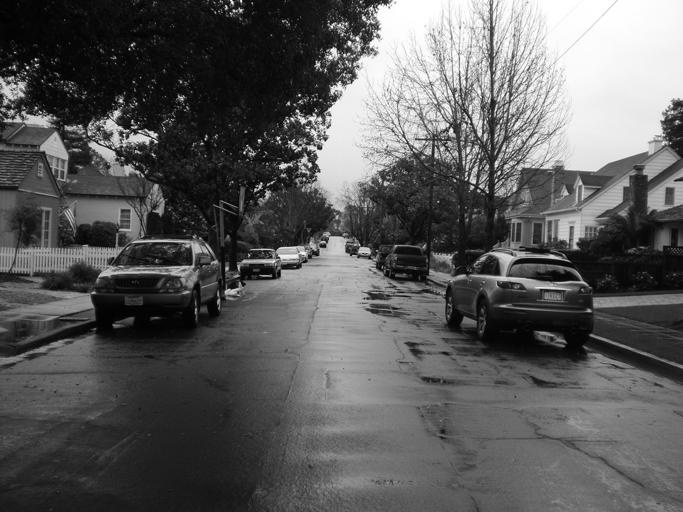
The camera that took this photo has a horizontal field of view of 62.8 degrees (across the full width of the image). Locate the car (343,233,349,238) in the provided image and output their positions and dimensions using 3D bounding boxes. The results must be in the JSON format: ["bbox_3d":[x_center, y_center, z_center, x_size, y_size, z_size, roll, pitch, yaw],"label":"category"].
[{"bbox_3d":[1.298,-6.974,194.500,1.175,1.689,2.660,0,2,-3],"label":"car"}]

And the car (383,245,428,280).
[{"bbox_3d":[4.250,0.411,36.643,2.561,2.183,2.568,1,2,9],"label":"car"}]

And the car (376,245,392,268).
[{"bbox_3d":[3.547,0.158,47.548,1.048,1.276,2.036,0,6,-2],"label":"car"}]

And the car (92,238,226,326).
[{"bbox_3d":[-4.371,0.590,13.380,2.164,2.059,2.879,1,2,4],"label":"car"}]

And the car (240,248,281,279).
[{"bbox_3d":[-4.882,0.472,33.964,2.317,1.685,2.766,1,2,-7],"label":"car"}]
